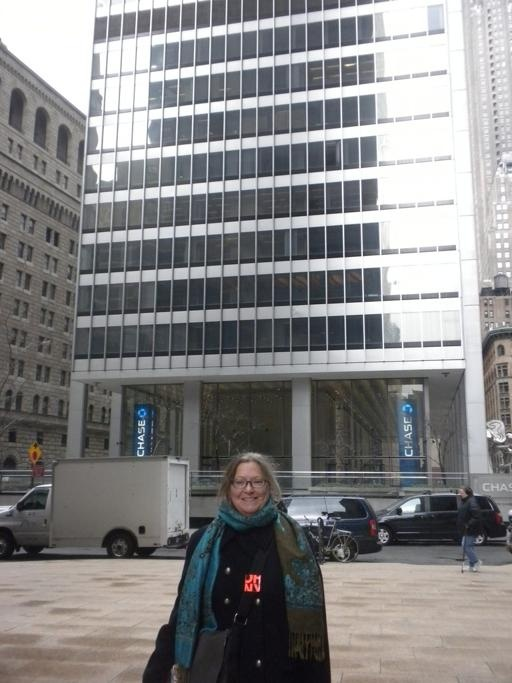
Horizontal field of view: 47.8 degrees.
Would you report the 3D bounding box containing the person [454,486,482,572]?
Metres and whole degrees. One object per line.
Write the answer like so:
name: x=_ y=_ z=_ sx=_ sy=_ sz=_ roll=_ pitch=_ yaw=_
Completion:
person: x=4.891 y=4.305 z=13.257 sx=0.494 sy=1.856 sz=0.731 roll=-6 pitch=-12 yaw=18
